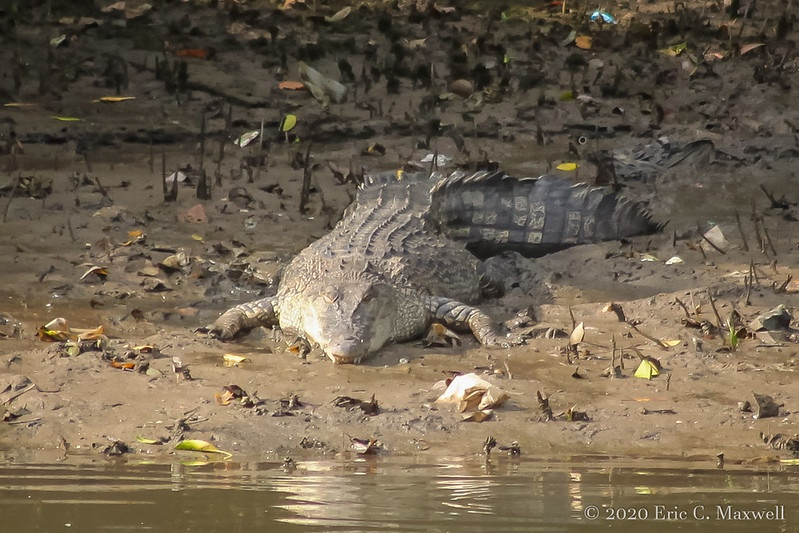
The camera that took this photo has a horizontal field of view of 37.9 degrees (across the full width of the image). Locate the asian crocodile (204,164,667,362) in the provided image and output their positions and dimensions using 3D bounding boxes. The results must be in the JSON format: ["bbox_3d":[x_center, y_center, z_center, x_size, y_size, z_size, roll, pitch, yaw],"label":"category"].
[{"bbox_3d":[0.319,-0.089,11.741,2.021,2.068,3.467,-6,-6,43],"label":"asian crocodile"}]
